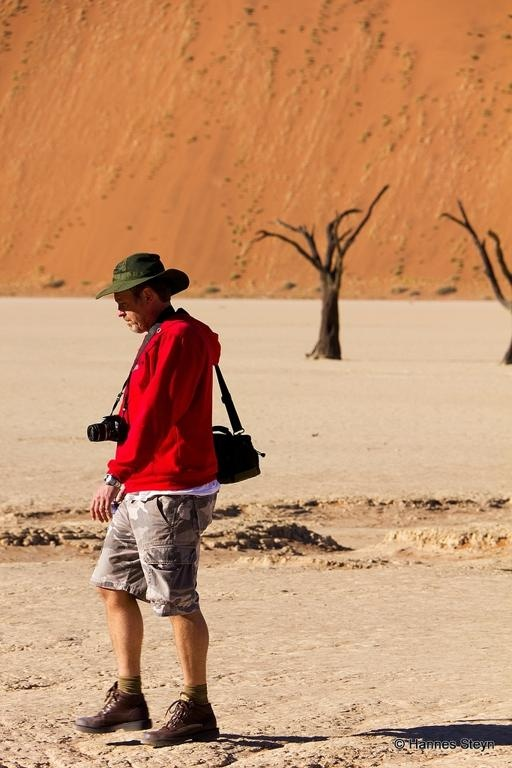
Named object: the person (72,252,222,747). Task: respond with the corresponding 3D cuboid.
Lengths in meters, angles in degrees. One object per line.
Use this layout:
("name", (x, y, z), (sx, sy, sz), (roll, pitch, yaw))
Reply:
("person", (-0.281, 0.334, 4.143), (0.417, 1.411, 0.391), (1, 4, -20))

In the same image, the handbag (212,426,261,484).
("handbag", (-0.062, 0.222, 4.226), (0.176, 0.178, 0.126), (-1, 8, 14))

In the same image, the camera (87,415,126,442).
("camera", (-0.430, 0.141, 4.165), (0.093, 0.063, 0.085), (-4, -2, -34))

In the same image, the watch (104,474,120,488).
("watch", (-0.404, 0.280, 4.007), (0.040, 0.029, 0.044), (16, -5, 13))

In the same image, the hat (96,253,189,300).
("hat", (-0.317, -0.322, 4.208), (0.174, 0.079, 0.196), (-23, -2, 16))

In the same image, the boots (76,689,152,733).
("boots", (-0.419, 0.957, 4.186), (0.228, 0.148, 0.101), (-1, 3, -9))

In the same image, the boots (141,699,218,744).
("boots", (-0.211, 0.985, 4.136), (0.230, 0.142, 0.092), (0, -1, -9))
